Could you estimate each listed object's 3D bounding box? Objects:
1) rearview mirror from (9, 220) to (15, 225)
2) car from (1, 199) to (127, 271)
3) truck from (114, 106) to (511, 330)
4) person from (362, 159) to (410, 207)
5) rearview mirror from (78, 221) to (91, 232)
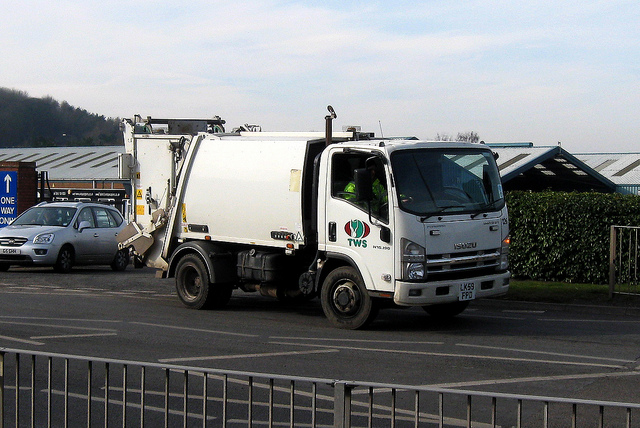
[{"bbox_3d":[-9.989,0.268,24.766,0.159,0.042,0.164,-21,0,8],"label":"rearview mirror"},{"bbox_3d":[-7.998,0.555,23.304,2.591,1.778,4.061,-4,-6,27],"label":"car"},{"bbox_3d":[-0.324,0.017,17.092,8.642,3.990,4.114,0,1,40],"label":"truck"},{"bbox_3d":[1.009,-0.556,14.068,1.090,0.454,0.593,24,14,24],"label":"person"},{"bbox_3d":[-7.105,0.379,23.087,0.282,0.124,0.298,-17,6,41],"label":"rearview mirror"}]
